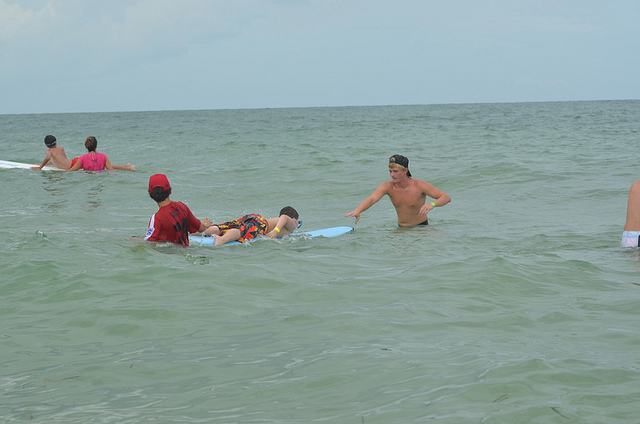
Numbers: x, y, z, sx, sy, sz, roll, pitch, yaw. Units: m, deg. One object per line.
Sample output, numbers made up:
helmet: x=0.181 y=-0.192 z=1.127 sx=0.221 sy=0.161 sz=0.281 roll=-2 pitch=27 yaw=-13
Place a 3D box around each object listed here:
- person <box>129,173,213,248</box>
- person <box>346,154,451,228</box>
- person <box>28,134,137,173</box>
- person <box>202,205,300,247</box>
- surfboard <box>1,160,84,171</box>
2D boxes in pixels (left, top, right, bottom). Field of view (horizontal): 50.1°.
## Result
person: x=-2.530 y=-0.042 z=11.799 sx=0.715 sy=1.258 sz=0.870 roll=5 pitch=15 yaw=16
person: x=1.873 y=-0.426 z=13.863 sx=1.334 sy=1.458 sz=0.668 roll=11 pitch=18 yaw=37
person: x=-7.376 y=-1.736 z=20.137 sx=3.610 sy=1.010 sz=1.160 roll=5 pitch=25 yaw=7
person: x=-1.208 y=0.242 z=12.865 sx=1.504 sy=0.375 sz=0.778 roll=-4 pitch=17 yaw=-38
surfboard: x=-8.170 y=-1.407 z=20.360 sx=2.310 sy=0.126 sz=0.279 roll=9 pitch=28 yaw=13
